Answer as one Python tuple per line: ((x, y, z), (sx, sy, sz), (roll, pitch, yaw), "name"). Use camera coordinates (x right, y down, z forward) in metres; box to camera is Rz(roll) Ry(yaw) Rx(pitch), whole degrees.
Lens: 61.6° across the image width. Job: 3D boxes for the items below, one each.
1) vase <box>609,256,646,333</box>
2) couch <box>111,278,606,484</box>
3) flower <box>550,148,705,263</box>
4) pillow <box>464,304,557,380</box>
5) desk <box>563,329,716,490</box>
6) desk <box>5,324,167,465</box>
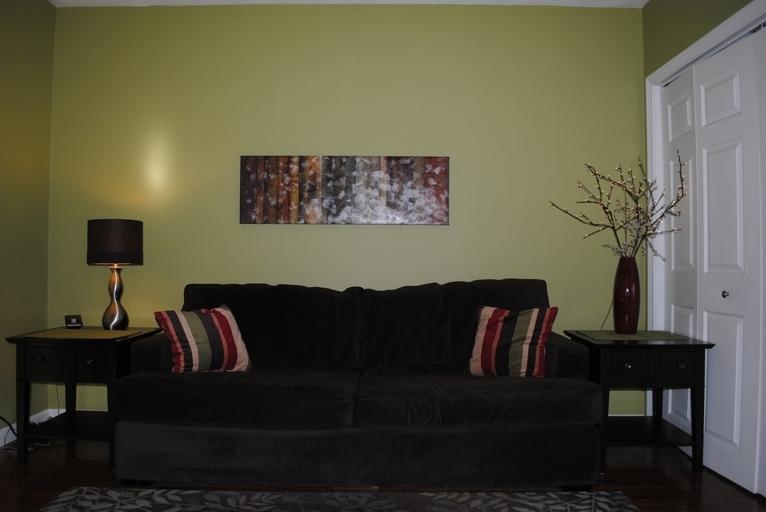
((1.853, 0.293, 4.925), (0.184, 0.484, 0.148), (1, -1, 24), "vase")
((-0.159, 0.920, 4.624), (3.252, 1.358, 0.669), (2, -1, 0), "couch")
((2.002, -0.382, 5.280), (0.934, 0.755, 0.870), (-8, -8, 26), "flower")
((0.922, 0.625, 4.641), (0.558, 0.524, 0.172), (4, -17, 19), "pillow")
((1.929, 1.148, 5.056), (1.094, 1.050, 0.895), (0, -4, 0), "desk")
((-2.229, 1.043, 5.171), (0.991, 0.954, 0.983), (-1, -4, 3), "desk")
